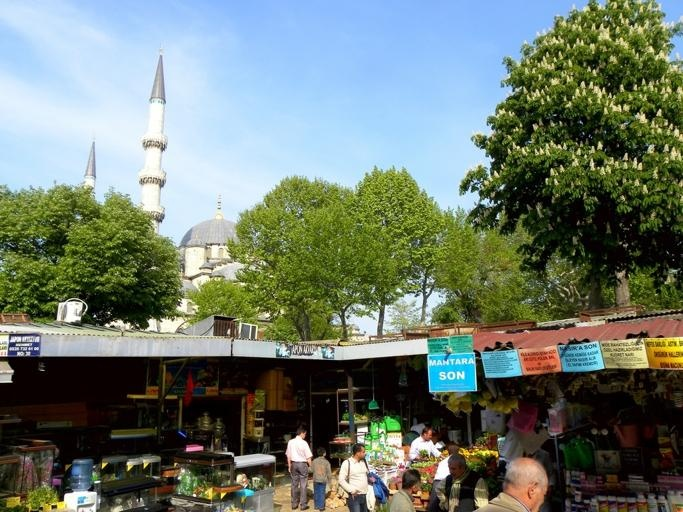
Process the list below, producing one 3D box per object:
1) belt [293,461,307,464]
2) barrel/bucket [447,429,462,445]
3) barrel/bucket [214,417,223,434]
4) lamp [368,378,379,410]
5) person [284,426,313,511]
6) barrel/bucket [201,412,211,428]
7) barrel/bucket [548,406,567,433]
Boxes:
[{"bbox_3d":[-0.997,4.941,13.594,0.326,0.069,0.069,1,-13,-10],"label":"belt"},{"bbox_3d":[3.052,4.782,15.061,0.361,0.318,0.465,-4,-13,12],"label":"barrel/bucket"},{"bbox_3d":[-3.698,5.142,17.035,0.345,0.507,0.360,0,-17,0],"label":"barrel/bucket"},{"bbox_3d":[0.958,4.104,16.668,0.345,0.883,1.049,-1,-13,3],"label":"lamp"},{"bbox_3d":[-1.034,5.154,13.807,0.584,1.890,1.320,0,-13,-4],"label":"person"},{"bbox_3d":[-4.121,4.953,16.995,0.351,0.495,0.326,-1,-13,0],"label":"barrel/bucket"},{"bbox_3d":[4.404,3.336,11.429,0.418,0.511,0.432,1,-14,0],"label":"barrel/bucket"}]
